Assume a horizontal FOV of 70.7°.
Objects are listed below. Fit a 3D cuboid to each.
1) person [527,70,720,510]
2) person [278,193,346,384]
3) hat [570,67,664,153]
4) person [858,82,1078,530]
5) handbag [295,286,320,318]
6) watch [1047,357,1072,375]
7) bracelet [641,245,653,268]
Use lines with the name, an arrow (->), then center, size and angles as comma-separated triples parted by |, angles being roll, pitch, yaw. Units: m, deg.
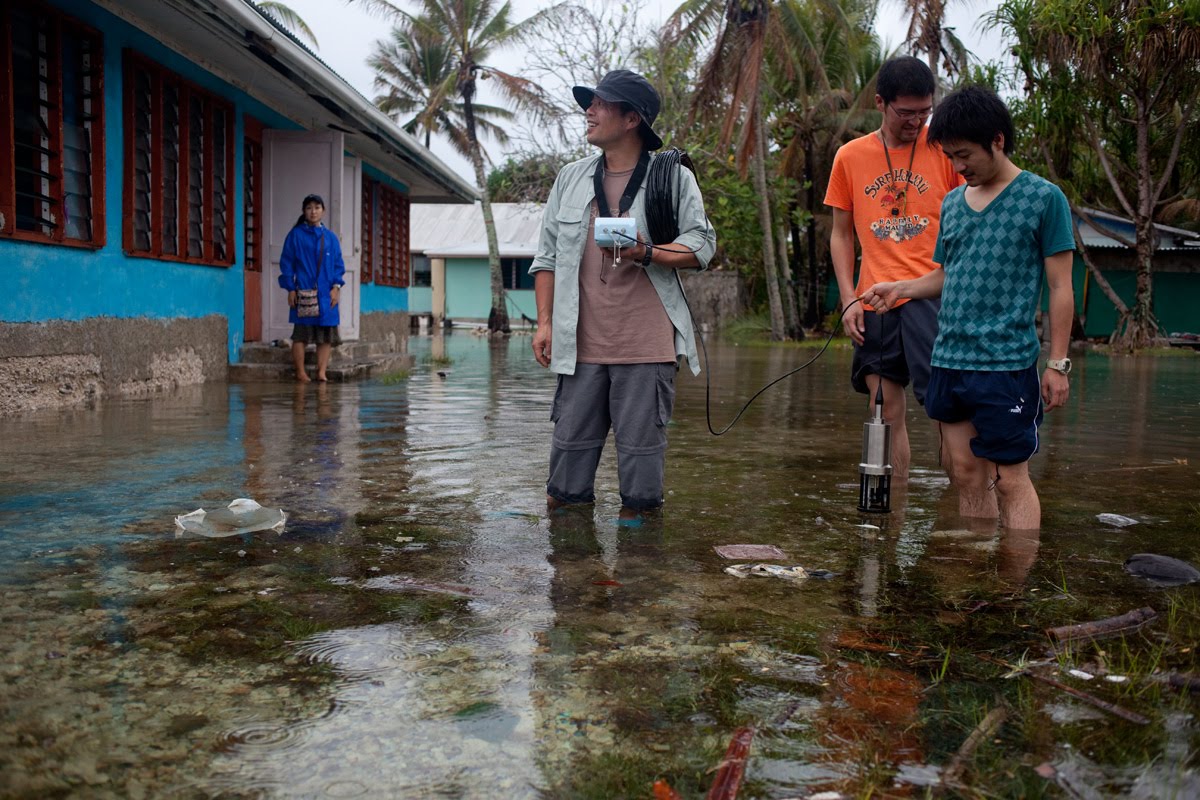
person -> 0.094, -0.574, 4.409 | 0.946, 2.309, 0.517 | 1, 7, 0
person -> -3.589, -1.379, 10.457 | 0.720, 2.315, 0.584 | -2, 7, -19
hat -> 0.084, -1.498, 4.268 | 0.508, 0.417, 0.325 | -1, 7, -17
person -> 1.831, -0.391, 3.973 | 0.667, 2.062, 0.547 | 3, 7, 15
handbag -> -3.585, -1.177, 10.303 | 0.297, 0.318, 0.305 | 0, -4, 6
watch -> 2.106, -0.160, 3.880 | 0.107, 0.080, 0.119 | 13, 13, 21
bracelet -> 0.224, -0.726, 4.193 | 0.040, 0.076, 0.056 | 8, 2, -6
